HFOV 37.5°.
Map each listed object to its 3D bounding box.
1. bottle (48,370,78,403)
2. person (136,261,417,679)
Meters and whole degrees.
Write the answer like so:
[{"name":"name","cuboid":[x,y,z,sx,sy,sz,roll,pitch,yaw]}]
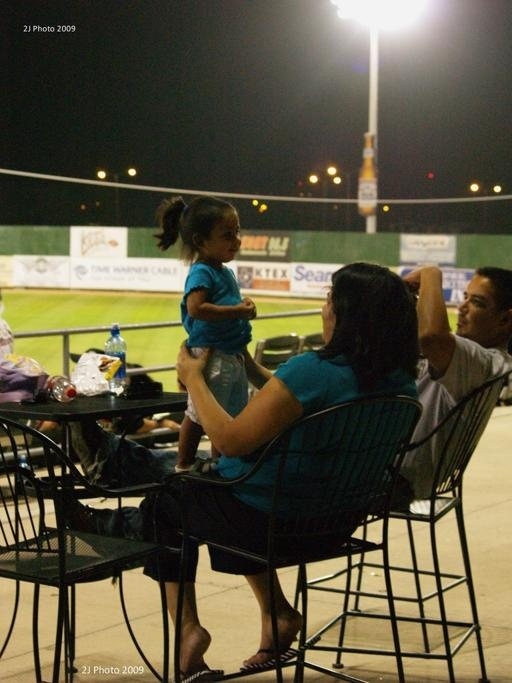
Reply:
[{"name":"bottle","cuboid":[-0.719,0.170,2.822,0.074,0.066,0.115,20,7,-45]},{"name":"person","cuboid":[0.055,0.383,2.038,0.513,1.162,0.715,-8,8,-41]}]
